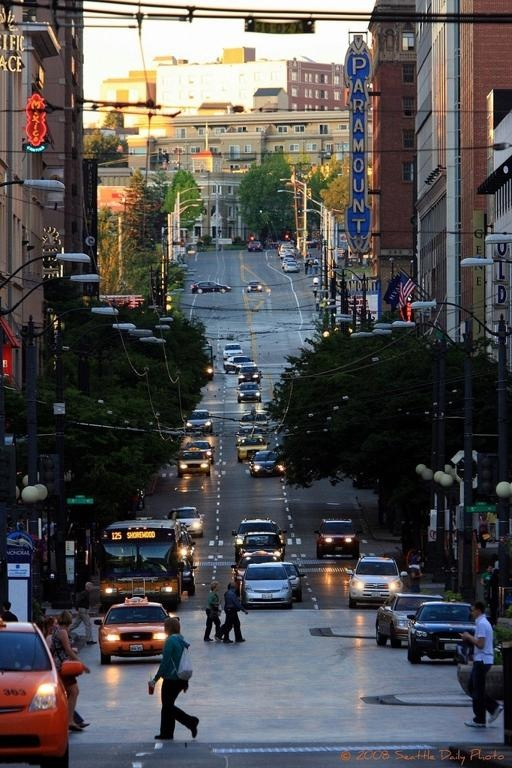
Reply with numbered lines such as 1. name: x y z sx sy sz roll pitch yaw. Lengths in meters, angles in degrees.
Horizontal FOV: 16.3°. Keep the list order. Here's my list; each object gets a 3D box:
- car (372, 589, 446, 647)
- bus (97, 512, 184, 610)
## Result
1. car: 3.086 4.860 36.816 1.338 1.281 1.502 -3 -6 0
2. bus: -3.133 4.945 47.734 2.028 2.383 1.141 -2 0 17
